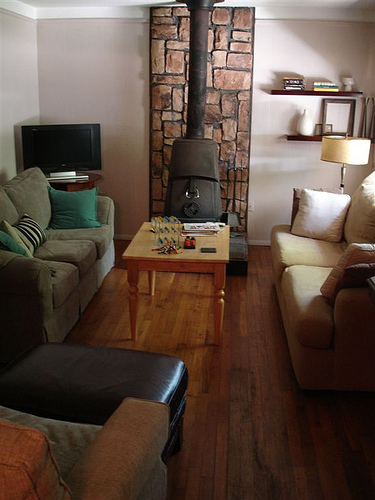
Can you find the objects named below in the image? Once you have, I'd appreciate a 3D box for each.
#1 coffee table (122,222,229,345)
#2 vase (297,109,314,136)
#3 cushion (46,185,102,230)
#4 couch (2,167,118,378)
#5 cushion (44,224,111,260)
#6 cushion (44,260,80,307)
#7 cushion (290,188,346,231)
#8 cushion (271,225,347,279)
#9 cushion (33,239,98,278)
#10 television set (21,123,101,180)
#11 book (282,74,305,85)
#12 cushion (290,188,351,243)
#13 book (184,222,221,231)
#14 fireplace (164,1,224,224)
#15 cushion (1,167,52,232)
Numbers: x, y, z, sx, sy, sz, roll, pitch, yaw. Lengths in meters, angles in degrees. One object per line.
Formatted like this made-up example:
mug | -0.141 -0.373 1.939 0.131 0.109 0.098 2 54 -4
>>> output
coffee table | -0.050 0.243 3.272 0.760 0.690 1.109 3 15 5
vase | 1.342 -1.440 4.467 0.228 0.386 0.240 2 23 16
cushion | -1.110 -0.396 3.840 0.403 0.400 0.162 -5 -14 -12
couch | -0.931 0.152 2.886 0.433 0.665 1.410 3 27 -5
cushion | -1.045 -0.035 3.561 0.505 0.113 0.539 -26 40 -21
cushion | -0.864 0.215 2.726 0.260 0.140 0.257 -1 18 2
cushion | 1.253 -0.377 3.754 0.378 0.445 0.145 3 4 2
cushion | 1.035 0.009 3.414 0.438 0.118 0.483 4 24 -2
cushion | -0.946 0.018 3.207 0.321 0.135 0.325 1 21 -1
television set | -1.459 -1.121 4.467 0.716 0.558 0.221 -5 15 -19
book | 1.204 -1.926 4.459 0.252 0.134 0.172 4 14 12
cushion | 1.261 -0.306 3.722 0.386 0.443 0.162 15 -7 12
book | 0.135 -0.214 3.478 0.309 0.041 0.456 1 15 1
fireplace | 0.075 -1.364 3.986 0.520 2.138 0.472 -8 15 -30
cushion | -1.407 -0.427 3.460 0.195 0.428 0.600 -5 27 11
